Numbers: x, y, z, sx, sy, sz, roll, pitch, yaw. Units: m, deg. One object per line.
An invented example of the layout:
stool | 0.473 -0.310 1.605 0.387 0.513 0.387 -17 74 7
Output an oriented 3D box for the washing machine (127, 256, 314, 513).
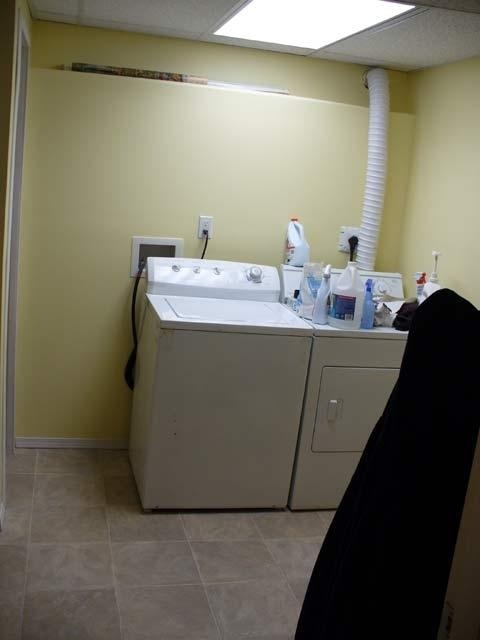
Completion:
washing machine | -0.134 0.309 2.316 0.807 1.187 0.672 3 7 -16

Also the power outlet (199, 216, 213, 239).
power outlet | -0.199 -0.539 2.586 0.087 0.193 0.016 0 11 -22

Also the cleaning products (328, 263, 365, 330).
cleaning products | 0.505 -0.112 2.136 0.161 0.314 0.114 6 7 19
